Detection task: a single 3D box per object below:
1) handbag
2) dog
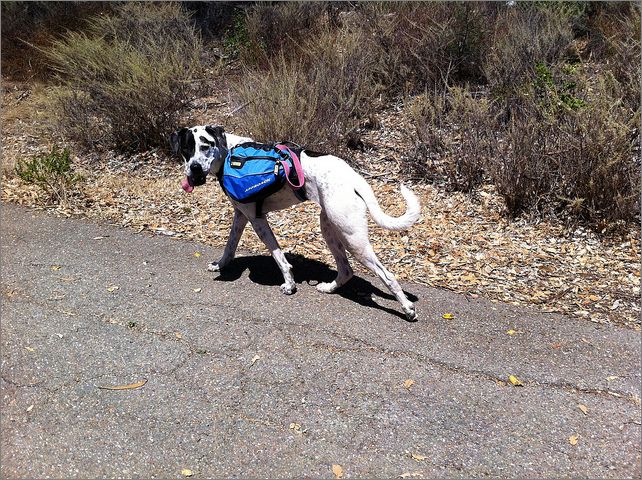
[{"bbox_3d":[-0.601,-0.689,5.421,0.682,0.667,0.297,4,75,8],"label":"handbag"},{"bbox_3d":[-0.288,-0.238,5.534,2.801,1.637,0.788,10,20,20],"label":"dog"}]
